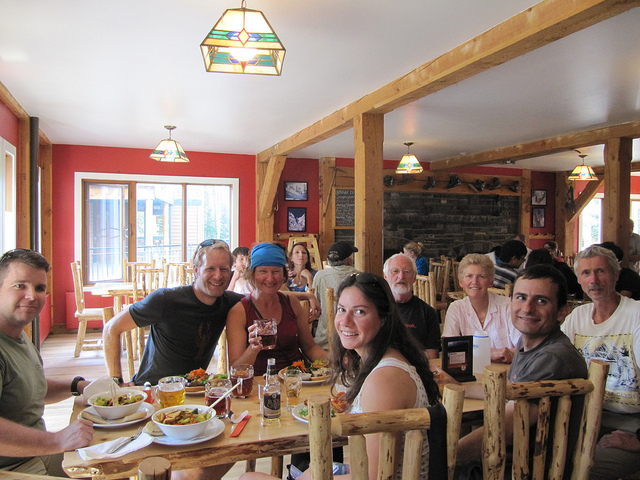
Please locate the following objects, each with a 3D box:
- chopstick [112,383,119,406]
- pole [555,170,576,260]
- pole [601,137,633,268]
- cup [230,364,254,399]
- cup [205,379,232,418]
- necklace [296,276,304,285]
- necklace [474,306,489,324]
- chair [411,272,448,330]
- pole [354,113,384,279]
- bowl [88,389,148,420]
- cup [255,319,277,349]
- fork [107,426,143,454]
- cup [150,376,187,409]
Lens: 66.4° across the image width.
[{"bbox_3d":[-0.895,0.685,2.155,0.014,0.091,0.015,-13,4,1],"label":"chopstick"},{"bbox_3d":[5.004,-0.515,9.953,0.396,1.690,0.609,-1,0,26],"label":"pole"},{"bbox_3d":[3.476,-0.456,5.712,0.280,1.428,0.513,-1,0,32],"label":"pole"},{"bbox_3d":[-0.354,0.685,2.349,0.109,0.113,0.162,0,-4,-5],"label":"cup"},{"bbox_3d":[-0.442,0.710,2.182,0.145,0.151,0.144,-1,-9,0],"label":"cup"},{"bbox_3d":[-0.199,0.426,5.050,0.081,0.056,0.078,1,-4,8],"label":"necklace"},{"bbox_3d":[1.065,0.495,3.209,0.087,0.109,0.028,5,3,9],"label":"necklace"},{"bbox_3d":[1.120,0.594,5.076,0.350,0.446,0.360,-8,-6,44],"label":"chair"},{"bbox_3d":[0.460,-0.436,4.535,0.256,1.493,0.250,-1,0,12],"label":"pole"},{"bbox_3d":[-0.910,0.743,2.158,0.187,0.065,0.185,7,-2,0],"label":"bowl"},{"bbox_3d":[-0.268,0.491,2.529,0.115,0.136,0.143,-1,-7,-7],"label":"cup"},{"bbox_3d":[-0.780,0.812,2.002,0.026,0.028,0.210,1,7,17],"label":"fork"},{"bbox_3d":[-0.694,0.700,2.260,0.169,0.142,0.108,1,0,-27],"label":"cup"}]
